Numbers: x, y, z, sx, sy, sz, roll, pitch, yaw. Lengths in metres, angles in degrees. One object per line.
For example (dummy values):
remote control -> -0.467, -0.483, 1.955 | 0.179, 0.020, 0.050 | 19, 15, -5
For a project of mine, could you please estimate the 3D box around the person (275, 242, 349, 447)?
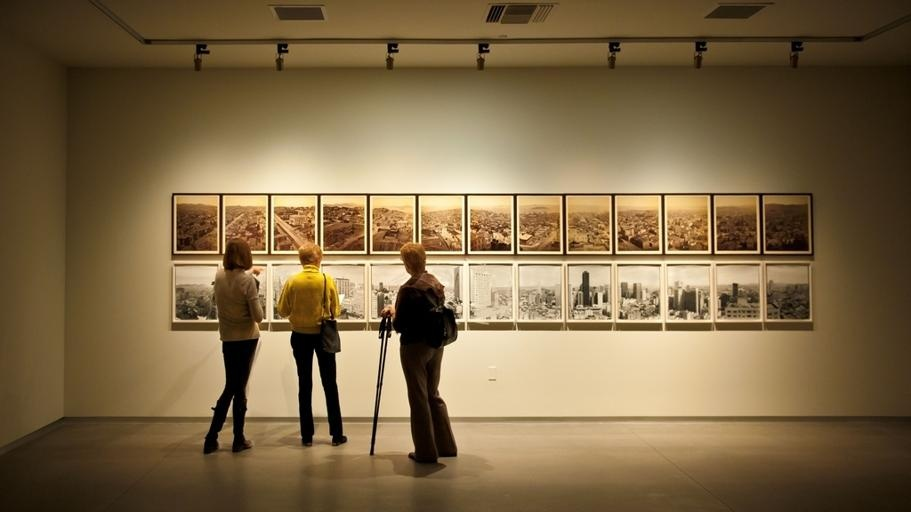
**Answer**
person -> -2.085, 1.288, 9.388 | 0.945, 2.905, 0.327 | -1, 1, -9

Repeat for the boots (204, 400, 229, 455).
boots -> -3.471, 2.416, 9.275 | 0.326, 0.746, 0.448 | -1, 1, -21

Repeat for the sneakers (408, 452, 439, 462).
sneakers -> -0.459, 2.788, 8.952 | 0.453, 0.161, 0.133 | -4, -5, 23

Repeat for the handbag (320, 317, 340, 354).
handbag -> -1.821, 1.164, 9.334 | 0.280, 0.513, 0.184 | -1, 1, -32

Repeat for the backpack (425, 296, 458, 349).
backpack -> -0.196, 0.967, 8.872 | 0.402, 0.583, 0.155 | -1, 1, -39

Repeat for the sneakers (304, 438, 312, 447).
sneakers -> -2.158, 2.694, 9.318 | 0.139, 0.117, 0.101 | -1, 1, -9

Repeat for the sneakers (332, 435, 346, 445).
sneakers -> -1.698, 2.680, 9.352 | 0.101, 0.153, 0.266 | 1, 4, 15
